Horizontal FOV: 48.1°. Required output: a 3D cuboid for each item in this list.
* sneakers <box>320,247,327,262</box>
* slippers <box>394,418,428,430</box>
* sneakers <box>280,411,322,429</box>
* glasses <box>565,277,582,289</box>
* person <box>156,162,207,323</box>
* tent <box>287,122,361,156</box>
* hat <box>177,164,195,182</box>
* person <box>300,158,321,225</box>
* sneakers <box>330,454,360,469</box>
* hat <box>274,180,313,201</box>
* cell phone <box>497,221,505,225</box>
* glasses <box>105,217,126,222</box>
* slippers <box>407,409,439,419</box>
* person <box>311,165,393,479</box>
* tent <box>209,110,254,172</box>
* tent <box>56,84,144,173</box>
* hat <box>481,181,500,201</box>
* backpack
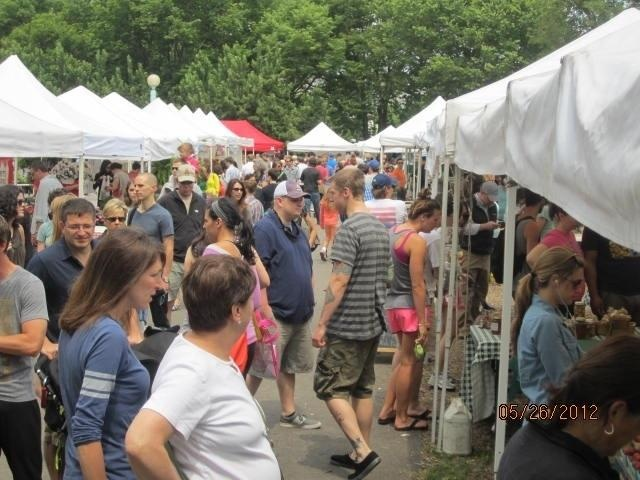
[{"bbox_3d":[0.074,0.302,14.837,0.102,0.320,0.138,-2,50,6],"label":"sneakers"},{"bbox_3d":[0.855,1.680,6.688,0.247,0.079,0.134,-3,7,-11],"label":"slippers"},{"bbox_3d":[-0.177,1.628,6.602,0.324,0.137,0.165,3,3,-3],"label":"sneakers"},{"bbox_3d":[1.575,0.259,4.464,0.075,0.027,0.085,14,12,-48],"label":"glasses"},{"bbox_3d":[-1.668,0.162,8.816,0.703,2.121,0.679,-6,20,-34],"label":"person"},{"bbox_3d":[0.027,-4.172,30.816,2.406,1.177,2.497,0,17,-2],"label":"tent"},{"bbox_3d":[-1.601,-0.817,8.606,0.210,0.233,0.302,0,-1,-13],"label":"hat"},{"bbox_3d":[-0.222,-1.332,18.369,0.558,1.743,0.504,1,28,-1],"label":"person"},{"bbox_3d":[0.194,1.797,5.896,0.257,0.106,0.098,8,5,27],"label":"sneakers"},{"bbox_3d":[-0.276,-0.437,6.112,0.238,0.124,0.172,9,11,33],"label":"hat"},{"bbox_3d":[2.265,-0.219,8.938,0.091,0.024,0.089,7,23,8],"label":"cell phone"},{"bbox_3d":[-2.054,-0.210,7.146,0.205,0.063,0.146,0,-1,-5],"label":"glasses"},{"bbox_3d":[0.975,1.654,6.833,0.207,0.059,0.084,-1,10,8],"label":"slippers"},{"bbox_3d":[0.258,0.623,5.740,0.591,2.493,0.601,0,-1,7],"label":"person"},{"bbox_3d":[-3.899,-3.845,28.093,2.443,2.093,2.517,4,16,9],"label":"tent"},{"bbox_3d":[-3.919,-1.975,12.365,1.638,0.954,1.704,10,14,13],"label":"tent"},{"bbox_3d":[2.000,-0.622,8.461,0.162,0.139,0.235,-22,52,-26],"label":"hat"},{"bbox_3d":[2.110,0.103,8.187,0.467,0.703,0.499,18,1,-9],"label":"backpack"}]
